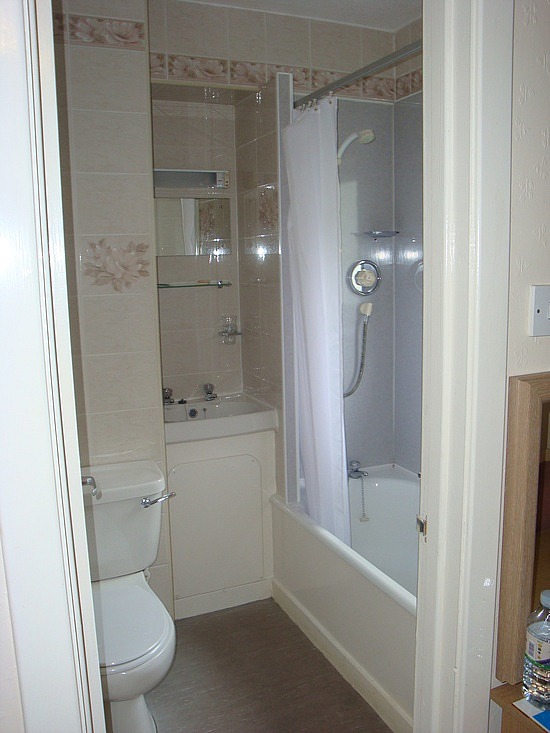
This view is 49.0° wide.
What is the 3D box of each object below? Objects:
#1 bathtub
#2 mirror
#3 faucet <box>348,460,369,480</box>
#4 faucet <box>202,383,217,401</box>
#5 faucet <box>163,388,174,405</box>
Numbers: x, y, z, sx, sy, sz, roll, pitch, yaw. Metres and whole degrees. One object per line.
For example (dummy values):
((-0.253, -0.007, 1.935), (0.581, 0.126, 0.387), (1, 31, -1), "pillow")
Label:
((0.278, 0.790, 2.086), (0.425, 0.388, 0.827), (0, 13, -22), "bathtub")
((-0.384, -0.632, 2.705), (0.377, 0.279, 0.018), (-4, 8, -29), "mirror")
((0.402, 0.515, 3.004), (0.078, 0.035, 0.103), (-1, 13, -5), "faucet")
((-0.308, 0.122, 2.840), (0.071, 0.081, 0.071), (-2, 2, -23), "faucet")
((-0.480, 0.133, 2.725), (0.075, 0.077, 0.075), (0, 2, -4), "faucet")
